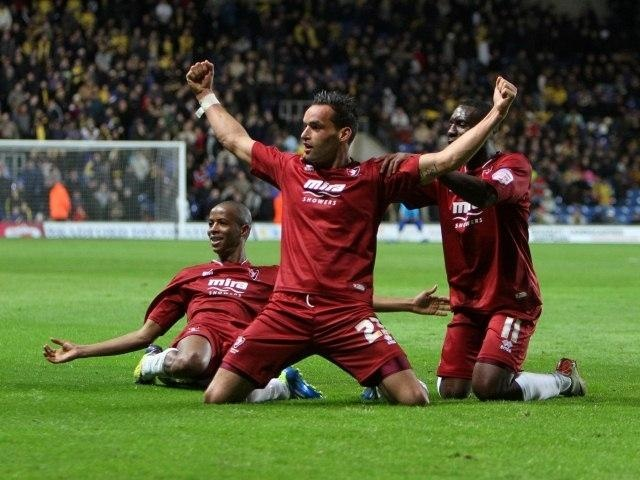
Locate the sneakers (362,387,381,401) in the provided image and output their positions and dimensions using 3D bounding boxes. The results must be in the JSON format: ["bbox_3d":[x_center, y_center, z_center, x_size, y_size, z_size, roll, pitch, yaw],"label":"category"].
[{"bbox_3d":[0.449,1.320,9.215,0.185,0.111,0.217,2,-4,9],"label":"sneakers"}]
